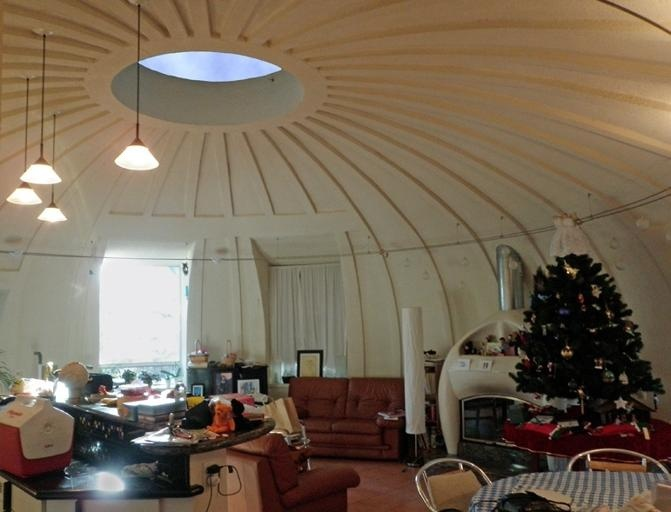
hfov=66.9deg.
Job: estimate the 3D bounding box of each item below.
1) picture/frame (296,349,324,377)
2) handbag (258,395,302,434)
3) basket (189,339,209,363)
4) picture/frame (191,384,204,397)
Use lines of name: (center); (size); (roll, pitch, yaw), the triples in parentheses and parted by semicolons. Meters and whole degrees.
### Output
picture/frame: (-0.528, 2.234, 10.610); (0.605, 0.629, 0.049); (-1, -19, 3)
handbag: (-0.723, 2.218, 7.145); (0.535, 0.436, 0.342); (4, -12, -5)
basket: (-2.800, 1.953, 10.457); (0.467, 0.401, 0.381); (0, -9, -5)
picture/frame: (-2.750, 2.629, 10.137); (0.306, 0.190, 0.116); (2, -12, 5)
